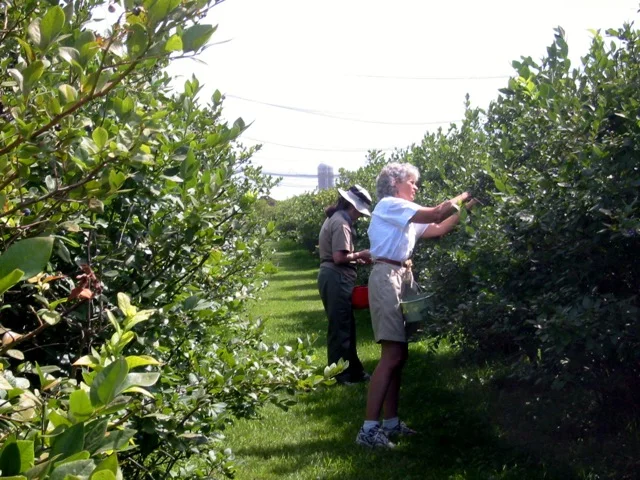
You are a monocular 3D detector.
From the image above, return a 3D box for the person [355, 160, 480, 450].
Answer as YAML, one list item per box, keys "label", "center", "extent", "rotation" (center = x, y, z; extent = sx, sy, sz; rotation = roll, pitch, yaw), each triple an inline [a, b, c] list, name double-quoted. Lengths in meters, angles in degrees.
- label: "person"
  center: [0.966, 0.516, 4.945]
  extent: [0.944, 2.637, 1.256]
  rotation: [9, -11, -41]

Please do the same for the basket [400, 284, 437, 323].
- label: "basket"
  center: [0.897, 0.597, 5.013]
  extent: [0.236, 0.352, 0.279]
  rotation: [2, -26, 18]

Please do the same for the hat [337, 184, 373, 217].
- label: "hat"
  center: [0.462, -0.468, 7.102]
  extent: [0.424, 0.165, 0.398]
  rotation: [39, 14, -38]

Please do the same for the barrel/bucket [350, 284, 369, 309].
- label: "barrel/bucket"
  center: [0.519, 0.741, 7.033]
  extent: [0.231, 0.195, 0.248]
  rotation: [1, -1, 0]

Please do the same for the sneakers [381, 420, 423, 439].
- label: "sneakers"
  center: [0.770, 1.797, 5.224]
  extent: [0.377, 0.192, 0.138]
  rotation: [-3, 1, -6]

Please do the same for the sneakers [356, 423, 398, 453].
- label: "sneakers"
  center: [0.512, 1.791, 5.033]
  extent: [0.389, 0.203, 0.161]
  rotation: [3, 1, 28]
